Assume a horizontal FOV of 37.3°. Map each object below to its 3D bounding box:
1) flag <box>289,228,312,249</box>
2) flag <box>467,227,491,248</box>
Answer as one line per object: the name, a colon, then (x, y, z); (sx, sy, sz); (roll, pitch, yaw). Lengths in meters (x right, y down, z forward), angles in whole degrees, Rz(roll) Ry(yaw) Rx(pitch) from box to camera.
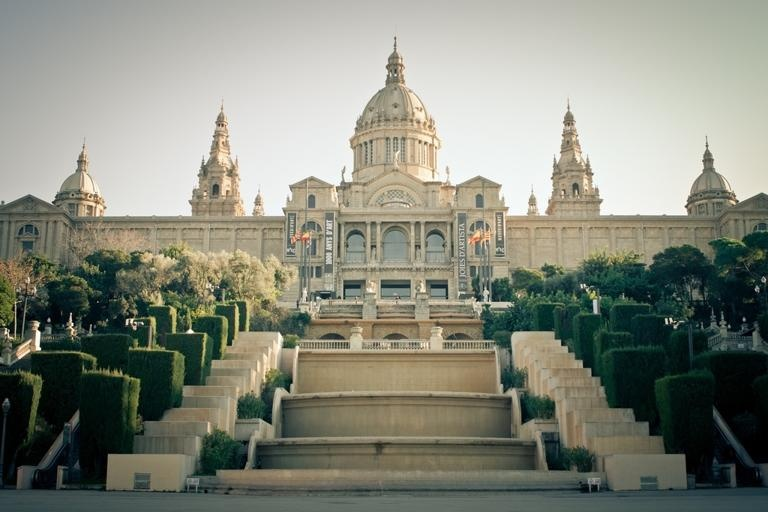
flag: (-7.866, -1.540, 105.910); (1.756, 1.841, 0.834); (26, 7, 15)
flag: (8.540, -2.145, 103.759); (2.061, 0.994, 5.315); (2, -4, 0)
